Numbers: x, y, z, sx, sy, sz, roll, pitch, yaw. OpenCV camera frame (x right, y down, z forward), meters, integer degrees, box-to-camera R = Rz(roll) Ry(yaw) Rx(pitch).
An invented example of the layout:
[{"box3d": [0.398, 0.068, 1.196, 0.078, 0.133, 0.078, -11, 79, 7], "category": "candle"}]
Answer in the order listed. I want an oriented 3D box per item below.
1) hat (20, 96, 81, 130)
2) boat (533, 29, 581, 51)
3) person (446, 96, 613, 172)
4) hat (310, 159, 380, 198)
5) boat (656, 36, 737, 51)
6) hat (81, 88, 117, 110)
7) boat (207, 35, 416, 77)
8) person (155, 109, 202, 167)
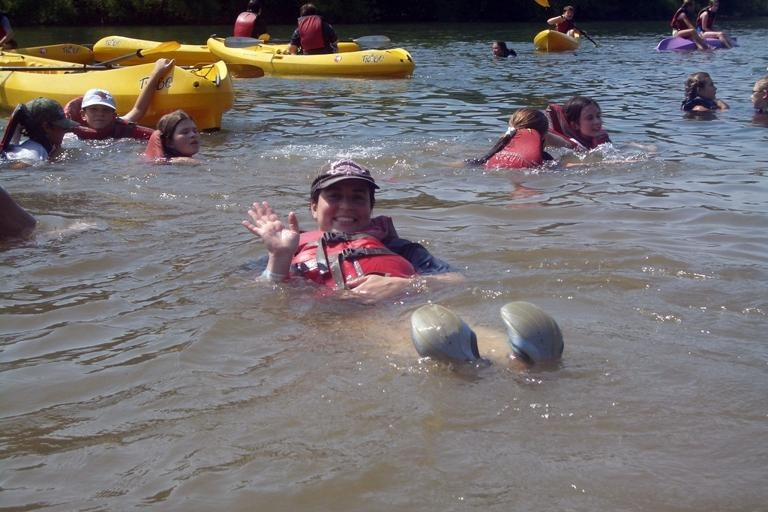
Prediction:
[{"box3d": [-3.754, -1.561, 8.828, 0.659, 0.182, 0.332, 5, -6, -19], "category": "hat"}, {"box3d": [5.126, -6.198, 22.666, 1.393, 0.617, 0.907, -5, 22, -8], "category": "boat"}, {"box3d": [1.823, -1.410, 8.978, 1.673, 0.662, 0.656, -18, 28, -38], "category": "person"}, {"box3d": [-0.268, -0.573, 5.652, 0.455, 0.180, 0.458, 1, 0, -4], "category": "hat"}, {"box3d": [8.864, -6.145, 22.864, 2.234, 0.354, 1.157, -8, 20, -21], "category": "boat"}, {"box3d": [-3.578, -1.926, 9.823, 0.372, 0.157, 0.416, 2, -12, -26], "category": "hat"}, {"box3d": [-2.041, -4.183, 17.194, 5.538, 0.685, 1.346, 5, 20, 11], "category": "boat"}, {"box3d": [-2.349, -1.343, 8.977, 0.425, 0.517, 0.752, -8, 23, -11], "category": "person"}]
